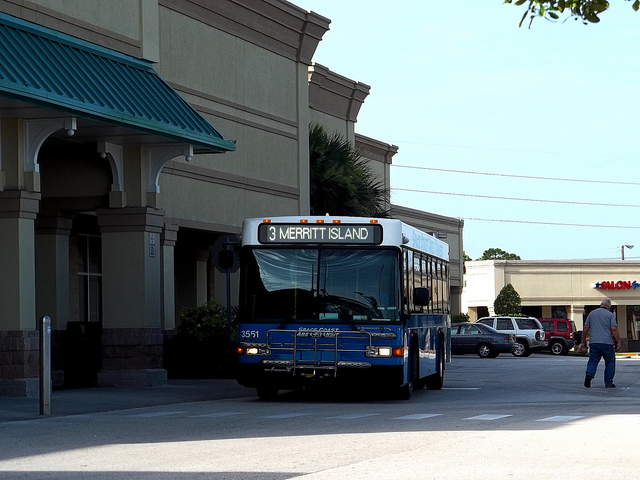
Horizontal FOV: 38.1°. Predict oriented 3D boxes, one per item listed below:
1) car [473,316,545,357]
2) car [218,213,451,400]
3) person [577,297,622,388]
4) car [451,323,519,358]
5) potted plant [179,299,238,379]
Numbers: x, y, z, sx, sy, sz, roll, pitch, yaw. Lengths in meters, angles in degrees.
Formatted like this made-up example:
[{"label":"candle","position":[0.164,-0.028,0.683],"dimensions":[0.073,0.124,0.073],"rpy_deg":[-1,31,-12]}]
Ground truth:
[{"label":"car","position":[9.870,4.760,46.313],"dimensions":[3.433,1.497,1.677],"rpy_deg":[1,-3,17]},{"label":"car","position":[1.055,1.361,19.013],"dimensions":[5.263,3.824,2.771],"rpy_deg":[6,-9,-44]},{"label":"person","position":[6.685,2.432,22.281],"dimensions":[0.926,2.201,0.723],"rpy_deg":[3,-5,13]},{"label":"car","position":[7.893,4.843,44.787],"dimensions":[3.291,1.160,1.472],"rpy_deg":[2,-3,21]},{"label":"potted plant","position":[-3.142,2.821,25.616],"dimensions":[1.445,1.994,0.623],"rpy_deg":[-1,-6,13]}]
